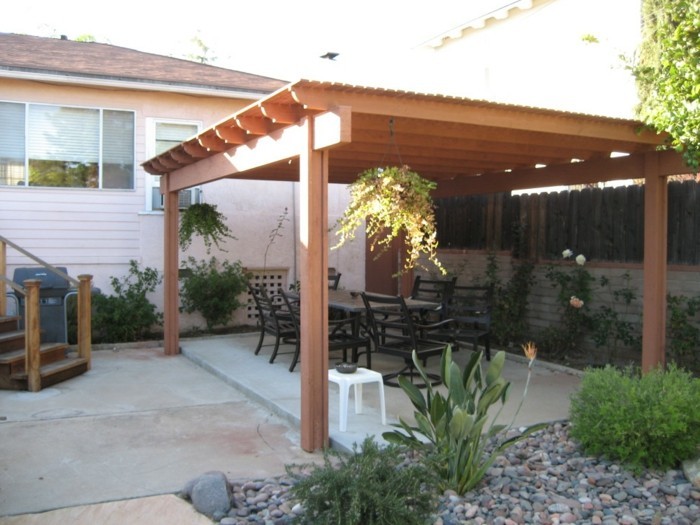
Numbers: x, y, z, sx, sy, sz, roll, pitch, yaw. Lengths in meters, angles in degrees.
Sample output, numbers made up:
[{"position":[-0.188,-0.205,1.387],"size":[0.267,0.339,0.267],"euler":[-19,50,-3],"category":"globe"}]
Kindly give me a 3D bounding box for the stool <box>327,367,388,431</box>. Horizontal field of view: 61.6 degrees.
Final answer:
[{"position":[0.052,1.306,6.042],"size":[0.548,0.579,0.572],"euler":[-2,4,-25],"category":"stool"}]

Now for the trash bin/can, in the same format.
[{"position":[-4.618,0.627,8.847],"size":[0.874,1.166,0.865],"euler":[3,5,25],"category":"trash bin/can"}]
